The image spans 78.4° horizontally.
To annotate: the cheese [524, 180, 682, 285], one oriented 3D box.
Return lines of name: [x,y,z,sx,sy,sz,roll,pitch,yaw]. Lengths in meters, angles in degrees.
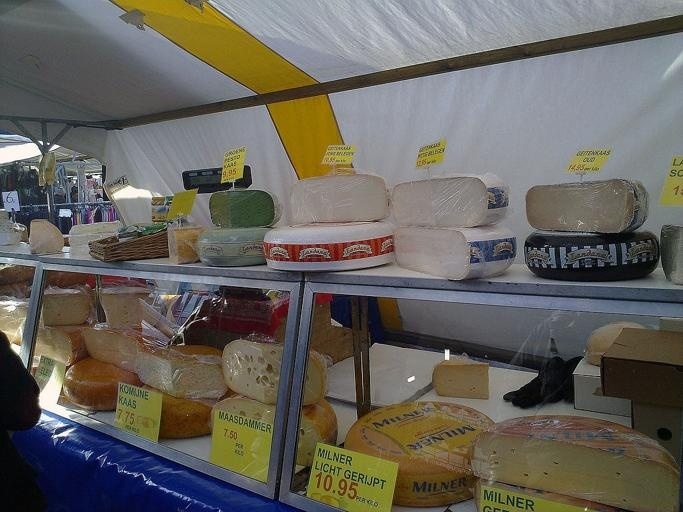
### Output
cheese: [0.728,-0.062,1.213,0.310,0.248,0.317,1,4,43]

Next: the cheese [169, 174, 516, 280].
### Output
cheese: [0.143,-0.113,1.380,0.794,0.319,0.290,2,10,22]
